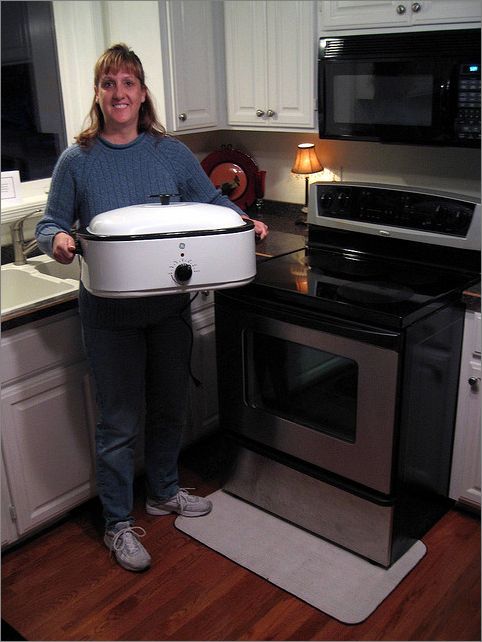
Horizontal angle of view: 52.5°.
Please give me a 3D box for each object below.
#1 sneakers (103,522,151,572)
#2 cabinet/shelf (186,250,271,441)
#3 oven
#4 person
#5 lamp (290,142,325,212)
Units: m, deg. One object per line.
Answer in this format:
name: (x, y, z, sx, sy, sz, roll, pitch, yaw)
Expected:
sneakers: (-0.362, 0.711, 1.531, 0.089, 0.114, 0.207, -9, 17, -33)
cabinet/shelf: (-0.141, 0.115, 2.066, 0.338, 0.724, 0.327, -16, 30, -40)
oven: (0.324, 0.139, 1.667, 0.534, 0.710, 0.698, 17, 28, 38)
person: (-0.287, -0.004, 1.408, 0.597, 1.409, 0.423, -10, 16, -36)
lamp: (0.288, -0.630, 2.176, 0.131, 0.282, 0.130, -26, 33, -36)
